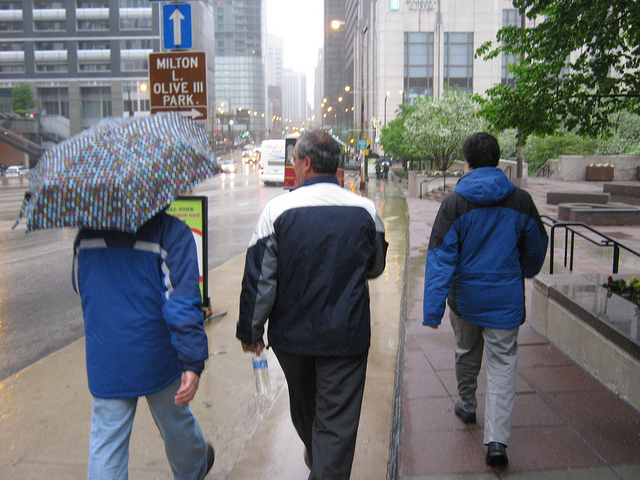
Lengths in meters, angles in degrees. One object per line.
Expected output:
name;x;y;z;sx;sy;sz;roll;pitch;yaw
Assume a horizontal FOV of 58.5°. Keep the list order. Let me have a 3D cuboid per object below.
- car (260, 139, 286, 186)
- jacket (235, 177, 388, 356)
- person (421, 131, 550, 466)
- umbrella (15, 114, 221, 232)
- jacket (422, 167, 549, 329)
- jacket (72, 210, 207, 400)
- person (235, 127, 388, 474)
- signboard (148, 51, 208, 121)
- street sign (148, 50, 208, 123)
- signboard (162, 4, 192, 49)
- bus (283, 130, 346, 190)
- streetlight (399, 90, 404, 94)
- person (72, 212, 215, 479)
car;-3.178;-5.327;39.110;1.463;1.890;2.969;1;14;0
jacket;-0.058;0.209;4.447;1.249;1.895;0.958;0;3;1
person;1.377;0.457;4.827;0.915;2.612;0.868;6;15;25
umbrella;-1.323;-0.459;3.842;1.240;0.690;0.617;0;15;2
jacket;1.432;0.238;5.008;0.956;2.354;0.696;-1;24;14
jacket;-1.293;0.316;3.984;1.032;1.386;0.678;13;19;14
person;-0.036;0.622;4.240;0.846;2.754;0.899;6;15;27
signboard;-1.872;-2.025;7.576;0.756;1.128;0.012;-3;-19;-11
street sign;-1.893;-2.036;7.670;0.788;1.069;0.012;-10;44;-24
signboard;-1.920;-2.893;7.707;0.404;0.579;0.430;-2;15;-7
bus;-0.212;-3.917;29.831;2.009;2.982;3.299;-1;0;44
streetlight;11.409;-20.792;79.914;0.591;0.631;2.799;1;18;7
person;-1.188;0.815;3.856;0.877;1.947;0.600;-3;14;-10
